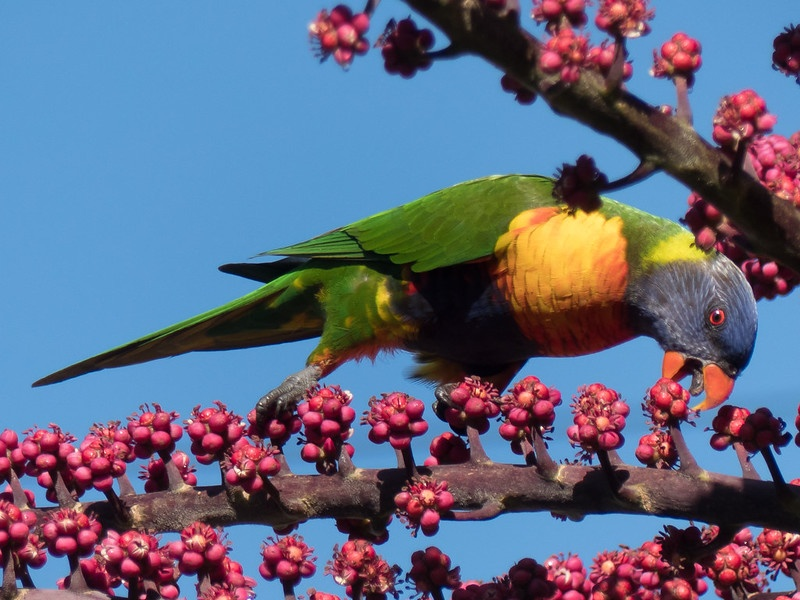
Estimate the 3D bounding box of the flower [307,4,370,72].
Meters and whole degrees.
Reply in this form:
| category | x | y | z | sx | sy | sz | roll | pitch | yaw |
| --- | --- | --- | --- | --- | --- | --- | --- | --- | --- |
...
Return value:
| category | x | y | z | sx | sy | sz | roll | pitch | yaw |
| --- | --- | --- | --- | --- | --- | --- | --- | --- | --- |
| flower | -0.222 | -1.024 | 6.163 | 0.241 | 0.270 | 0.160 | -18 | -38 | 1 |

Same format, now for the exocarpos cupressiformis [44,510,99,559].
| category | x | y | z | sx | sy | sz | roll | pitch | yaw |
| --- | --- | --- | --- | --- | --- | --- | --- | --- | --- |
| exocarpos cupressiformis | -1.300 | 0.938 | 6.420 | 0.242 | 0.199 | 0.202 | -1 | -41 | -18 |

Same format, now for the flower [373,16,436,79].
| category | x | y | z | sx | sy | sz | roll | pitch | yaw |
| --- | --- | --- | --- | --- | --- | --- | --- | --- | --- |
| flower | 0.035 | -1.016 | 6.405 | 0.249 | 0.114 | 0.266 | -36 | -4 | 16 |

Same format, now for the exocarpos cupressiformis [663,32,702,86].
| category | x | y | z | sx | sy | sz | roll | pitch | yaw |
| --- | --- | --- | --- | --- | --- | --- | --- | --- | --- |
| exocarpos cupressiformis | 1.181 | -0.970 | 6.626 | 0.171 | 0.213 | 0.173 | 2 | 10 | 16 |

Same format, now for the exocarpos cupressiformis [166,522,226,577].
| category | x | y | z | sx | sy | sz | roll | pitch | yaw |
| --- | --- | --- | --- | --- | --- | --- | --- | --- | --- |
| exocarpos cupressiformis | -0.816 | 1.006 | 6.432 | 0.283 | 0.208 | 0.302 | 4 | -16 | -37 |
